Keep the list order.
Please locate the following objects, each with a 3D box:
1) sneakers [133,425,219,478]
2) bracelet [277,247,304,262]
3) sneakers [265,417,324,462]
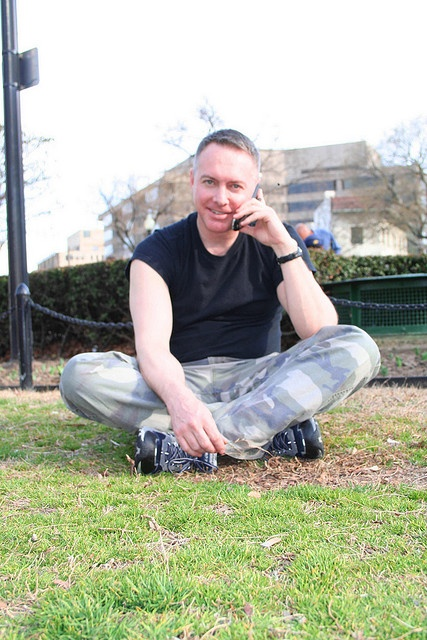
[{"bbox_3d":[-0.113,0.533,2.705,0.448,0.144,0.184,-2,8,-31],"label":"sneakers"},{"bbox_3d":[0.358,-0.296,2.983,0.085,0.030,0.086,-23,-1,-36],"label":"bracelet"},{"bbox_3d":[0.371,0.549,2.860,0.150,0.108,0.327,-17,5,-44],"label":"sneakers"}]
